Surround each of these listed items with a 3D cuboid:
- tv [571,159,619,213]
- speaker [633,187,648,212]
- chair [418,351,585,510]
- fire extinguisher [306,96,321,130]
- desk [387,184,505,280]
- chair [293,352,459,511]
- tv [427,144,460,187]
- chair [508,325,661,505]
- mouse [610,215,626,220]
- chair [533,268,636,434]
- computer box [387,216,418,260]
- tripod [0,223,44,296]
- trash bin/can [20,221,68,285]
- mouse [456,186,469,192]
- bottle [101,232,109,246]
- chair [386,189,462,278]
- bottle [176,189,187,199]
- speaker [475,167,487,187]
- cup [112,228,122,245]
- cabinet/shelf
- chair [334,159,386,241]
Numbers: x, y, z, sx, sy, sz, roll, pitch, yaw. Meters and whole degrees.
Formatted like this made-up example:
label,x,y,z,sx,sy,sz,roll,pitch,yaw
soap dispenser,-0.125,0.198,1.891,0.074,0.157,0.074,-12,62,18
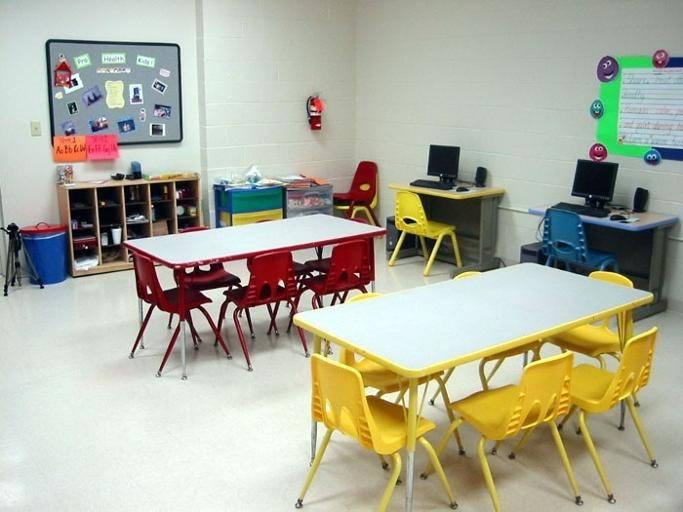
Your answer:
label,x,y,z,sx,sy,sz,roll,pitch,yaw
tv,2.520,-0.689,5.073,0.172,0.490,0.426,-11,24,-37
speaker,2.890,-0.536,4.945,0.131,0.227,0.147,5,15,28
chair,0.868,0.973,2.758,0.450,0.703,0.511,-16,32,-25
fire extinguisher,-0.370,-2.000,7.228,0.228,0.478,0.177,-6,14,-15
desk,1.216,-0.350,6.442,1.063,1.018,1.242,-10,16,-29
chair,0.181,0.935,2.643,0.552,0.768,0.494,-19,26,-38
tv,1.272,-1.112,6.314,0.174,0.536,0.456,-5,14,-45
chair,1.426,0.782,2.897,0.483,0.846,0.575,-8,12,-25
mouse,2.525,-0.351,4.695,0.124,0.036,0.180,4,16,27
chair,1.579,0.642,3.389,0.524,0.873,0.522,8,-8,21
computer box,0.760,-0.227,6.517,0.370,0.749,0.356,-6,15,-28
tripod,-3.483,0.000,5.554,0.366,0.701,0.548,-11,16,-31
trash bin/can,-3.284,-0.026,5.789,0.433,0.666,0.450,-10,16,-27
mouse,1.401,-0.765,5.924,0.139,0.049,0.078,-10,18,-34
bottle,-2.775,-0.193,6.033,0.075,0.145,0.136,5,7,36
chair,1.026,-0.339,6.282,0.708,1.017,0.705,-15,19,-37
bottle,-1.998,-0.776,6.458,0.105,0.072,0.107,2,9,0
speaker,1.677,-0.939,6.132,0.179,0.227,0.129,-4,13,-6
cup,-2.634,-0.232,6.041,0.119,0.186,0.120,1,18,0
cabinet/shelf,-2.402,-0.337,5.640,1.081,0.795,0.285,-8,12,-31
chair,0.322,-0.864,7.455,0.828,1.231,0.850,-9,19,-35
